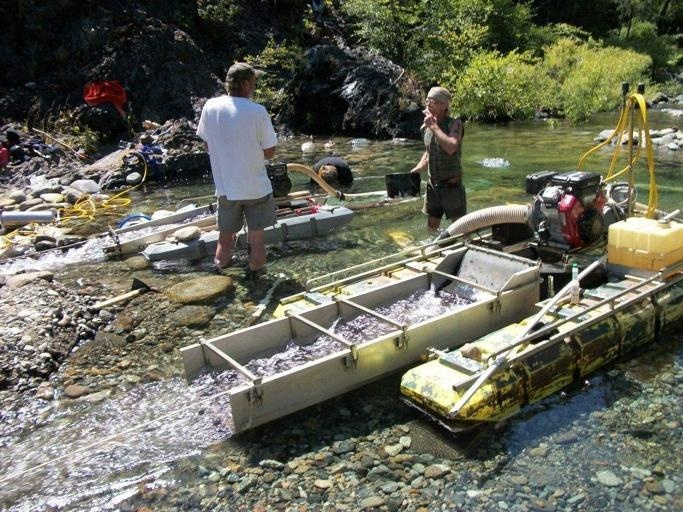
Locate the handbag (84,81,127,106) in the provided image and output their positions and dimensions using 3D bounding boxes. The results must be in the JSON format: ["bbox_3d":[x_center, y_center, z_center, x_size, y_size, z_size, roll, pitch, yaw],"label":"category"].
[{"bbox_3d":[-8.775,-5.963,17.599,1.330,0.981,0.998,-12,16,-25],"label":"handbag"}]

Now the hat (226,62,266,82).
[{"bbox_3d":[-1.301,-2.425,6.306,0.333,0.276,0.592,-4,14,5],"label":"hat"}]

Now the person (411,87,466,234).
[{"bbox_3d":[1.473,-1.375,7.059,0.698,2.181,1.029,-4,16,8],"label":"person"}]
